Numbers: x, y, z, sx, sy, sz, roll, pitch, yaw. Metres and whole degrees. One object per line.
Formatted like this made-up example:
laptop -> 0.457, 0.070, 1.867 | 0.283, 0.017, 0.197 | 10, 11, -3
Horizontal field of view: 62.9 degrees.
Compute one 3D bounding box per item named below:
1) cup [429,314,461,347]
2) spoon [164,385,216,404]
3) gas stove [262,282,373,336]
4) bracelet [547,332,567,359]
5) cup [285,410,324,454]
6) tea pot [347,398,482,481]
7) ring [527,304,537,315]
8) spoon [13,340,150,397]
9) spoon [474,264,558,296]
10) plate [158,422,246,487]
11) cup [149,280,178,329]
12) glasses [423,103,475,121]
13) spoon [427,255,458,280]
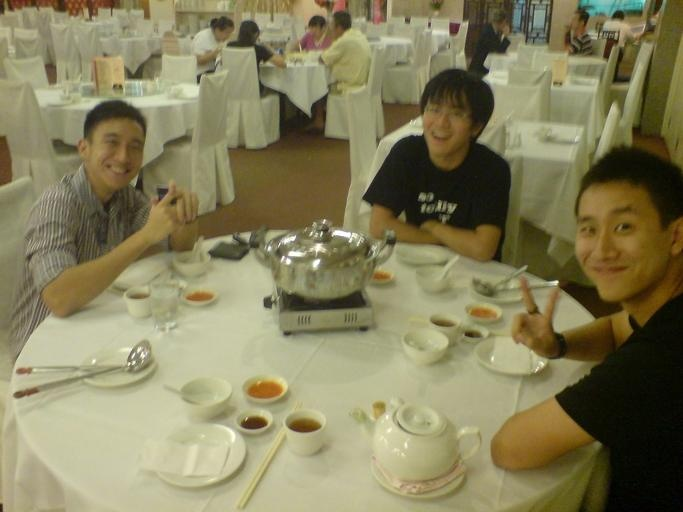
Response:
cup -> 0.295, 0.214, 1.606 | 0.079, 0.065, 0.066 | 1, 30, 3
spoon -> -0.367, 0.327, 1.329 | 0.096, 0.056, 0.053 | 3, 9, -4
gas stove -> -0.083, 0.170, 1.731 | 0.299, 0.107, 0.333 | -1, 9, -11
bracelet -> 0.585, 0.239, 1.493 | 0.062, 0.068, 0.065 | 3, -2, 0
cup -> -0.082, 0.382, 1.216 | 0.073, 0.057, 0.086 | 1, 29, 1
tea pot -> 0.175, 0.321, 1.148 | 0.214, 0.102, 0.162 | 16, 37, 21
ring -> 0.518, 0.144, 1.510 | 0.025, 0.010, 0.027 | -6, 20, 2
spoon -> -0.650, 0.269, 1.421 | 0.293, 0.075, 0.128 | -4, 25, -21
spoon -> 0.537, 0.087, 1.852 | 0.186, 0.036, 0.131 | -12, 20, -25
plate -> -0.297, 0.428, 1.205 | 0.174, 0.046, 0.139 | -1, 25, -2
cup -> -0.501, 0.136, 1.578 | 0.071, 0.130, 0.080 | 8, 31, 2
glasses -> 0.415, -0.566, 2.175 | 0.095, 0.041, 0.100 | 1, 4, -25
spoon -> 0.354, 0.030, 1.894 | 0.042, 0.027, 0.172 | 12, 24, 19
